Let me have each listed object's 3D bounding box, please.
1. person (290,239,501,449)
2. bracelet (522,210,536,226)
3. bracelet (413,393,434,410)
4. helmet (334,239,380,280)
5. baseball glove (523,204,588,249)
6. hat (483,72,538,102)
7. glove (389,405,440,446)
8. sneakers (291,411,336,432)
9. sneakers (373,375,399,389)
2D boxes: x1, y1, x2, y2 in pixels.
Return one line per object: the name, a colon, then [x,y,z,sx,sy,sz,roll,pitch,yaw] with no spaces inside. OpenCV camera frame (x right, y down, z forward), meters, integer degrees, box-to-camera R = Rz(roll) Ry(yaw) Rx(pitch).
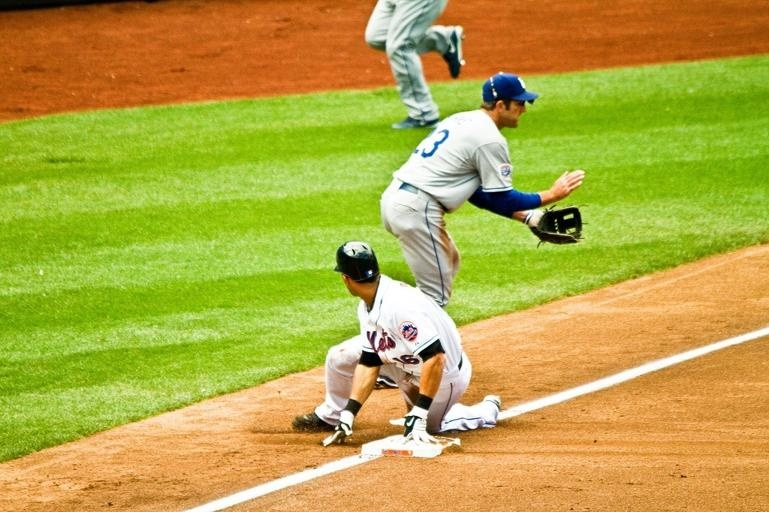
person: [0.103,0.799,13.172,1.787,1.890,0.785,-5,20,3]
bracelet: [1.435,-0.391,13.883,0.060,0.138,0.112,31,8,-17]
bracelet: [0.364,1.339,13.131,0.177,0.107,0.158,0,14,-39]
helmet: [-0.264,0.026,13.156,0.343,0.214,0.452,-17,31,-32]
baseball glove: [1.716,-0.367,14.218,0.575,0.273,0.749,-3,-4,-4]
hat: [1.230,-1.669,13.736,0.514,0.207,0.280,-2,19,1]
glove: [0.251,1.568,12.999,0.395,0.308,0.125,13,6,31]
sneakers: [-0.721,1.600,13.713,0.463,0.155,0.150,10,-6,-4]
sneakers: [0.044,1.219,13.712,0.324,0.099,0.090,10,27,-16]
